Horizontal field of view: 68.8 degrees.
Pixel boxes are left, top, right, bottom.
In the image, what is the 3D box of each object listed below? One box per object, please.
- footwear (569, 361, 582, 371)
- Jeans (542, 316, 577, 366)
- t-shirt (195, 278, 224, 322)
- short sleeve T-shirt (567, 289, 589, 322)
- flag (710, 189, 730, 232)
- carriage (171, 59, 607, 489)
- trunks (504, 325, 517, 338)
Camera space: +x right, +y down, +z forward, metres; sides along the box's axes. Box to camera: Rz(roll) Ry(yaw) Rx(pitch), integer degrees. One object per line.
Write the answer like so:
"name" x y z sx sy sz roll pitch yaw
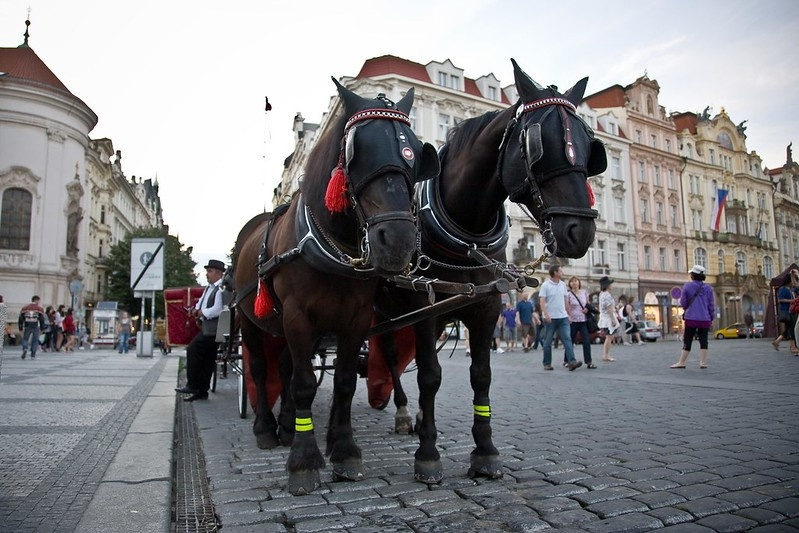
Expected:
"footwear" 3.397 1.932 11.401 0.125 0.136 0.318 5 -20 -28
"Jeans" 3.202 1.467 11.721 0.421 0.961 0.853 14 -17 -34
"t-shirt" -2.728 0.487 8.448 0.528 0.591 0.344 8 0 38
"short sleeve T-shirt" 3.845 0.863 12.646 0.625 0.620 0.338 4 -10 -25
"flag" 26.011 -4.637 47.647 0.974 3.360 0.125 7 4 -9
"carriage" -0.131 0.335 6.246 1.896 3.175 4.887 5 -15 -24
"trunks" 3.974 2.307 21.013 0.542 0.372 0.201 -3 1 -44
